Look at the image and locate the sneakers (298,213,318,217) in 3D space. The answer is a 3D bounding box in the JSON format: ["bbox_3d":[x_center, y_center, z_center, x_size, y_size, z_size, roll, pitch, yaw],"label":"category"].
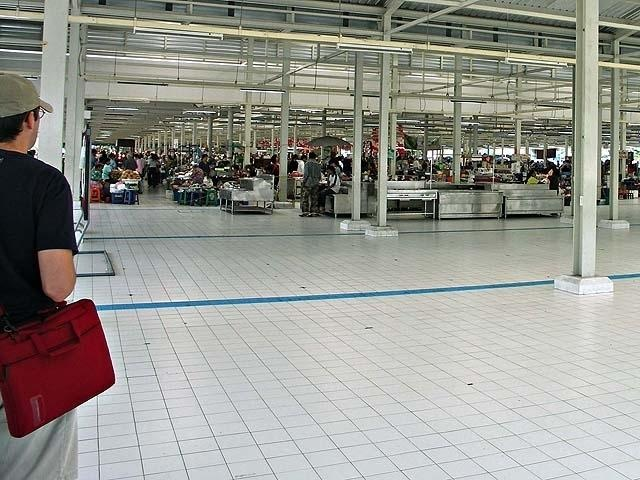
[{"bbox_3d":[-0.353,-0.890,16.649,0.643,0.217,0.199,-2,4,-21],"label":"sneakers"}]

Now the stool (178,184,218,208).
[{"bbox_3d":[-5.228,-1.796,19.836,1.364,0.537,0.993,0,2,-15],"label":"stool"}]

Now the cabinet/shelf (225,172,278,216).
[{"bbox_3d":[-2.393,-1.698,17.903,1.698,1.364,2.126,4,3,-1],"label":"cabinet/shelf"}]

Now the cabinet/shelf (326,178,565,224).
[{"bbox_3d":[4.830,-1.506,17.573,8.600,1.297,2.373,-1,9,-16],"label":"cabinet/shelf"}]
